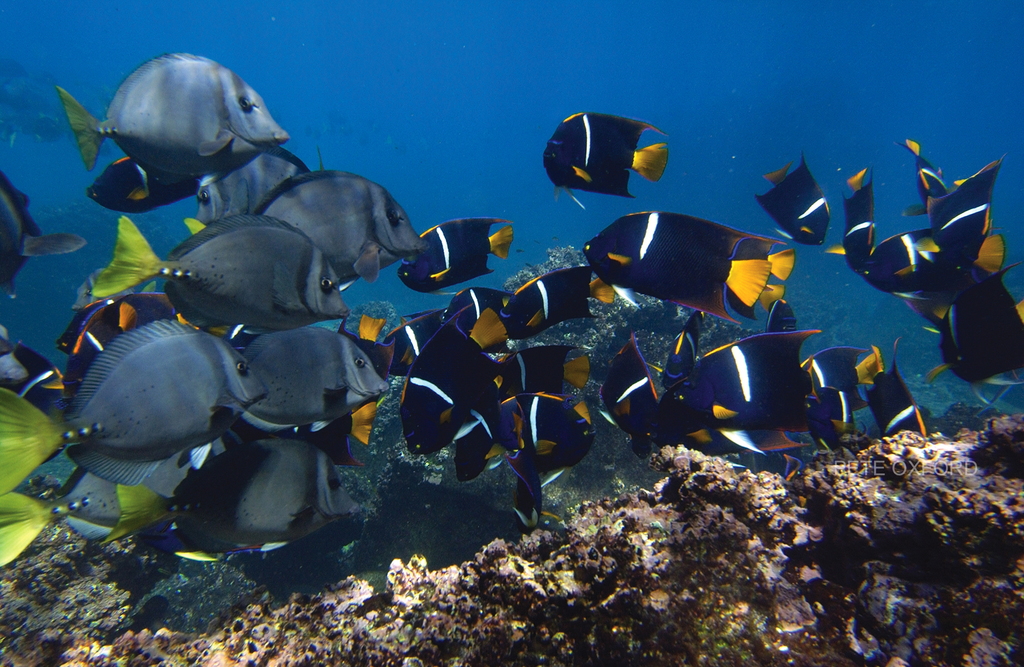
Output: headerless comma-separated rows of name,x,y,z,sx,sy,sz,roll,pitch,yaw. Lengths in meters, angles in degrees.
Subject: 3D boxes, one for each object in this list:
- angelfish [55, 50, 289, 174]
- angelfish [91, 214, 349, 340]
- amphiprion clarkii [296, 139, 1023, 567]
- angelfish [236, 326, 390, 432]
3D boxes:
angelfish,-3.520,-2.385,9.570,1.778,1.134,0.663,-9,37,1
angelfish,-3.038,-0.695,9.444,2.337,1.513,0.606,-9,36,1
amphiprion clarkii,1.970,1.981,21.322,17.832,9.877,8.255,0,1,2
angelfish,-2.293,0.504,9.801,2.388,1.338,0.646,-6,6,-20
